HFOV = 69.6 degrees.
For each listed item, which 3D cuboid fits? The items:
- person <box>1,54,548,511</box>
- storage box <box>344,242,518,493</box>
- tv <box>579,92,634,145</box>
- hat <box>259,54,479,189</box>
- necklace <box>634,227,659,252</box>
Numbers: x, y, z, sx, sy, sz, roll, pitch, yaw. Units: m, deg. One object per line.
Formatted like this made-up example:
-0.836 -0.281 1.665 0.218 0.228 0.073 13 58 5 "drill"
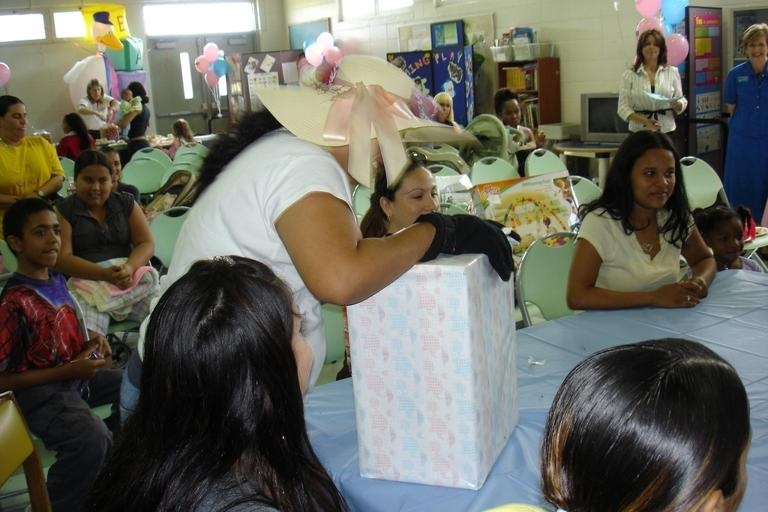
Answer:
-0.220 -0.208 1.515 0.923 1.385 0.637 -3 37 -16 "person"
0.169 0.259 1.529 0.294 0.556 0.553 -7 -5 23 "storage box"
2.772 -1.704 7.172 0.776 0.820 0.575 7 16 26 "tv"
-0.074 -0.336 1.280 0.353 0.149 0.337 25 22 19 "hat"
1.204 -0.075 2.540 0.084 0.125 0.033 -19 8 -8 "necklace"
